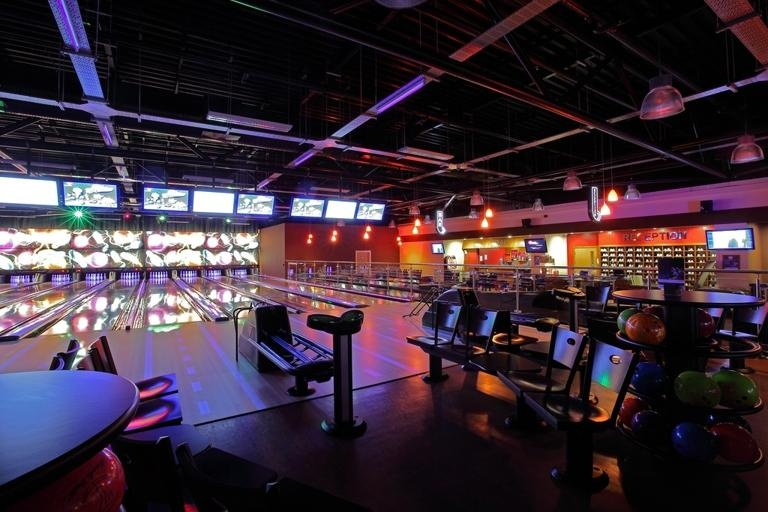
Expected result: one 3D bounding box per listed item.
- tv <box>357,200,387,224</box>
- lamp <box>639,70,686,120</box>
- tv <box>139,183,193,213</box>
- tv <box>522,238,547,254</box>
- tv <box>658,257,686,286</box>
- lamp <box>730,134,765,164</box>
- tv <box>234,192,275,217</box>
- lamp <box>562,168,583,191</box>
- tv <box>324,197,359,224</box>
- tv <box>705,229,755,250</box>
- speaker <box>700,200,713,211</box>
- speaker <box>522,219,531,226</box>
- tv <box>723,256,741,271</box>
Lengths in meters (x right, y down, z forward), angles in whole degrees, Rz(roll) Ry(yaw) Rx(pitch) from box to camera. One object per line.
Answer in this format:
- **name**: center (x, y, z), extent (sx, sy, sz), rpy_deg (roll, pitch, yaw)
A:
- **tv**: center (-0.345, -1.203, 12.203), extent (1.201, 0.598, 0.145), rpy_deg (0, 14, -32)
- **lamp**: center (3.273, -1.869, 5.339), extent (0.403, 0.489, 0.272), rpy_deg (8, 16, 26)
- **tv**: center (-4.511, -1.184, 9.445), extent (0.814, 0.423, 0.104), rpy_deg (1, 1, -34)
- **tv**: center (4.930, -0.307, 14.716), extent (0.405, 0.640, 0.810), rpy_deg (-6, 15, -25)
- **tv**: center (2.671, 0.142, 4.245), extent (0.038, 0.324, 0.283), rpy_deg (0, -2, -39)
- **lamp**: center (5.238, -1.538, 6.561), extent (0.330, 0.355, 0.465), rpy_deg (11, 17, 33)
- **tv**: center (-2.935, -1.151, 10.387), extent (0.266, 0.560, 0.959), rpy_deg (13, 18, 38)
- **lamp**: center (3.753, -1.493, 9.134), extent (0.252, 0.384, 1.095), rpy_deg (6, 14, 19)
- **tv**: center (-1.115, -1.146, 11.339), extent (0.390, 0.508, 0.893), rpy_deg (13, 18, 39)
- **tv**: center (8.043, -0.390, 10.618), extent (0.122, 0.580, 0.958), rpy_deg (-8, 17, -31)
- **speaker**: center (7.735, -1.208, 10.940), extent (0.160, 0.243, 0.274), rpy_deg (1, -4, -9)
- **speaker**: center (4.635, -1.072, 14.922), extent (0.240, 0.219, 0.408), rpy_deg (7, -1, 6)
- **tv**: center (7.735, 0.161, 10.121), extent (0.034, 0.246, 0.302), rpy_deg (6, -6, -23)
